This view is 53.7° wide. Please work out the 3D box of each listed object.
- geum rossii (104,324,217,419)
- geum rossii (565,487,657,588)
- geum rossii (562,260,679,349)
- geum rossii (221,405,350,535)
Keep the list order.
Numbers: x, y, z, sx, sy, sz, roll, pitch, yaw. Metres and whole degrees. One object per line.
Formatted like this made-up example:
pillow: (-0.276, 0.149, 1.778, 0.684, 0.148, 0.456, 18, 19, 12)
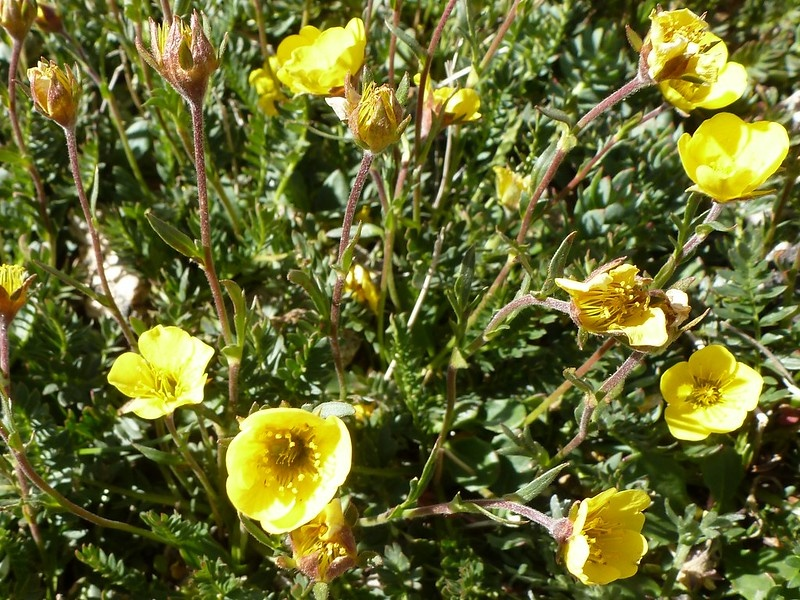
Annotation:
geum rossii: (-0.695, 0.215, 2.317, 0.353, 0.314, 0.194, -10, 107, -38)
geum rossii: (0.568, 0.684, 2.249, 0.281, 0.128, 0.295, -22, 111, -37)
geum rossii: (0.551, 0.002, 2.080, 0.304, 0.129, 0.163, 25, 60, 1)
geum rossii: (-0.314, 0.447, 2.151, 0.367, 0.362, 0.195, -11, 118, -60)
